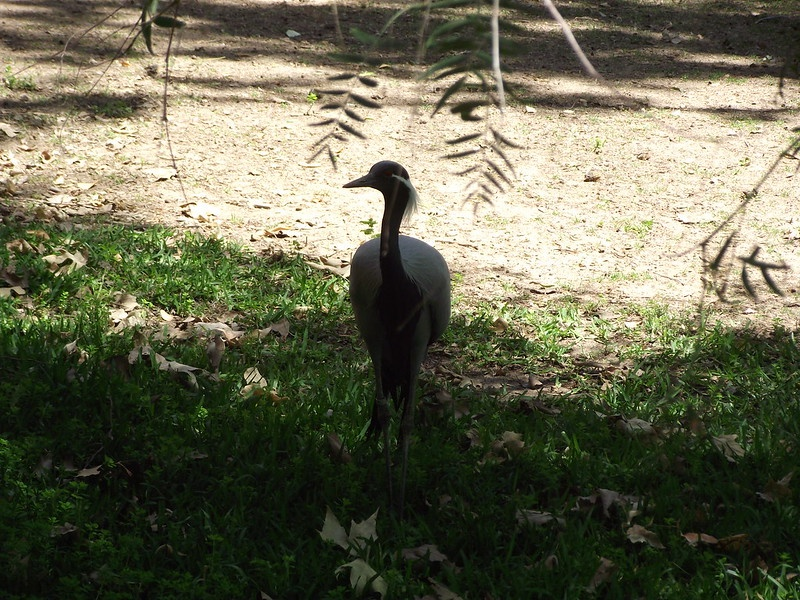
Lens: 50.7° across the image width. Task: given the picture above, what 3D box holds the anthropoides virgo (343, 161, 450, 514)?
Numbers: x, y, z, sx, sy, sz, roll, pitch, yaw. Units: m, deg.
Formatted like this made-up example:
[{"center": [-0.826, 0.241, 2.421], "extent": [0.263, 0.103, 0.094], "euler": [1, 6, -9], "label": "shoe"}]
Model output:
[{"center": [-0.048, 0.141, 3.995], "extent": [0.492, 1.570, 0.498], "euler": [8, 13, 10], "label": "anthropoides virgo"}]
